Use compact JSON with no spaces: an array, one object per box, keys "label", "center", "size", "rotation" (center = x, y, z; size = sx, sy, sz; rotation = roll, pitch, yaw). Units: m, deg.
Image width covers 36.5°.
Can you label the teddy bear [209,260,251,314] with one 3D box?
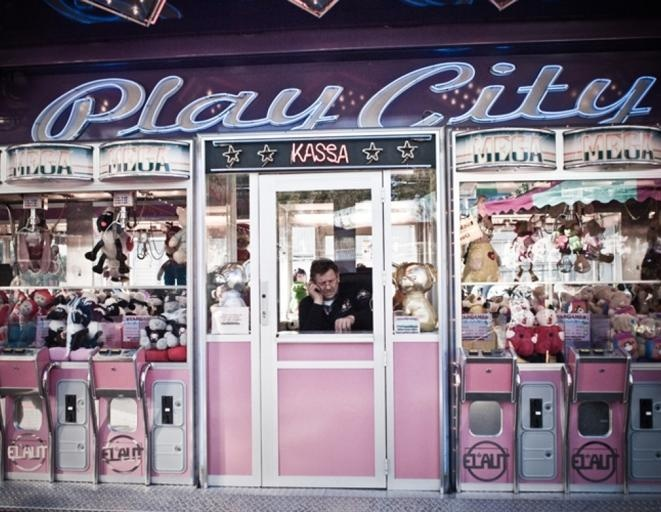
[{"label":"teddy bear","center":[-0.962,0.304,9.187],"size":[0.277,0.204,0.273],"rotation":[-27,-7,-3]}]
